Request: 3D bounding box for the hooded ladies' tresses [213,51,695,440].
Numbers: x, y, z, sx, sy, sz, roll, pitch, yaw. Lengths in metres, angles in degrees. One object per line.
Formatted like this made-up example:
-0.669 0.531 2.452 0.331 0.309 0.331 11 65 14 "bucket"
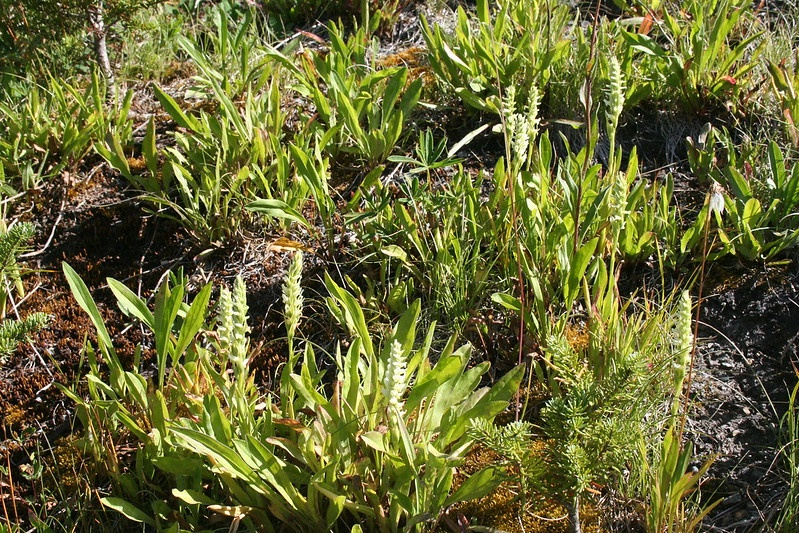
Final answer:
0.424 -0.276 2.860 1.350 1.129 1.006 8 34 13 "hooded ladies' tresses"
